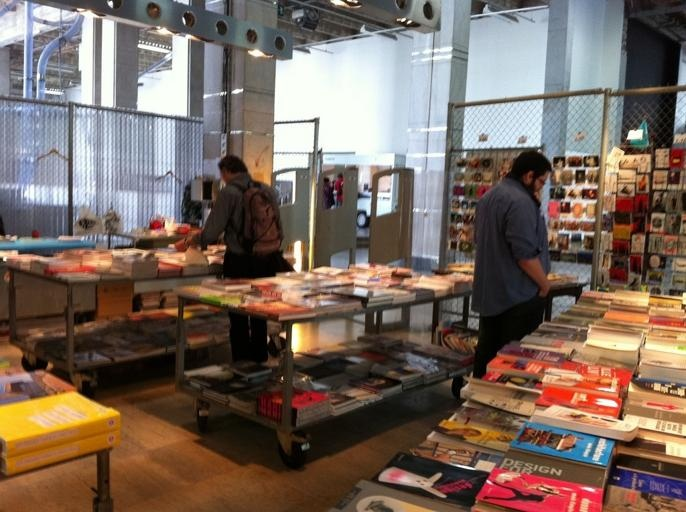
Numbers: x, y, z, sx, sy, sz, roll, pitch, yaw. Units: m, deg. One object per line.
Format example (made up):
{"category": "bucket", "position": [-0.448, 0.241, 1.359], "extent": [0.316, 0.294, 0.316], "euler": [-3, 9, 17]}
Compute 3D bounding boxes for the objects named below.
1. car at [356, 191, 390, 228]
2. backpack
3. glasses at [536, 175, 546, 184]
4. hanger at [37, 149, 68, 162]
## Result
{"category": "car", "position": [0.595, -1.580, 19.251], "extent": [1.038, 1.101, 1.944], "euler": [3, 4, 41]}
{"category": "backpack", "position": [-0.776, -0.345, 5.427], "extent": [0.347, 0.644, 0.440], "euler": [15, 19, 33]}
{"category": "glasses", "position": [1.466, -0.568, 4.333], "extent": [0.063, 0.081, 0.064], "euler": [9, 4, -17]}
{"category": "hanger", "position": [-4.701, -1.623, 9.343], "extent": [0.455, 0.224, 1.723], "euler": [-2, 11, -25]}
